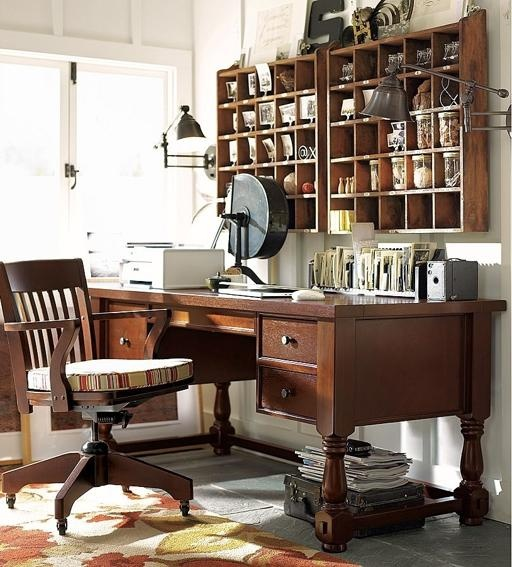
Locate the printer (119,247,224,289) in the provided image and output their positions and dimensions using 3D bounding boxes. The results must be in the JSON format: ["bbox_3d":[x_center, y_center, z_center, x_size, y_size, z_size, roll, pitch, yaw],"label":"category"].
[{"bbox_3d":[-0.385,-0.094,2.691,0.276,0.146,0.343,-4,7,-35],"label":"printer"}]

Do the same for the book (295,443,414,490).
[{"bbox_3d":[0.346,0.644,1.945,0.254,0.102,0.279,1,-1,-31],"label":"book"}]

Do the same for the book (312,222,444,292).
[{"bbox_3d":[0.412,-0.078,2.090,0.170,0.319,0.604,8,-11,-41],"label":"book"}]

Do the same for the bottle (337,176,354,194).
[{"bbox_3d":[0.389,-0.429,2.319,0.051,0.083,0.088,-2,6,-32],"label":"bottle"}]

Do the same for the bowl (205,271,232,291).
[{"bbox_3d":[-0.172,-0.009,2.398,0.081,0.049,0.102,0,-1,15],"label":"bowl"}]
